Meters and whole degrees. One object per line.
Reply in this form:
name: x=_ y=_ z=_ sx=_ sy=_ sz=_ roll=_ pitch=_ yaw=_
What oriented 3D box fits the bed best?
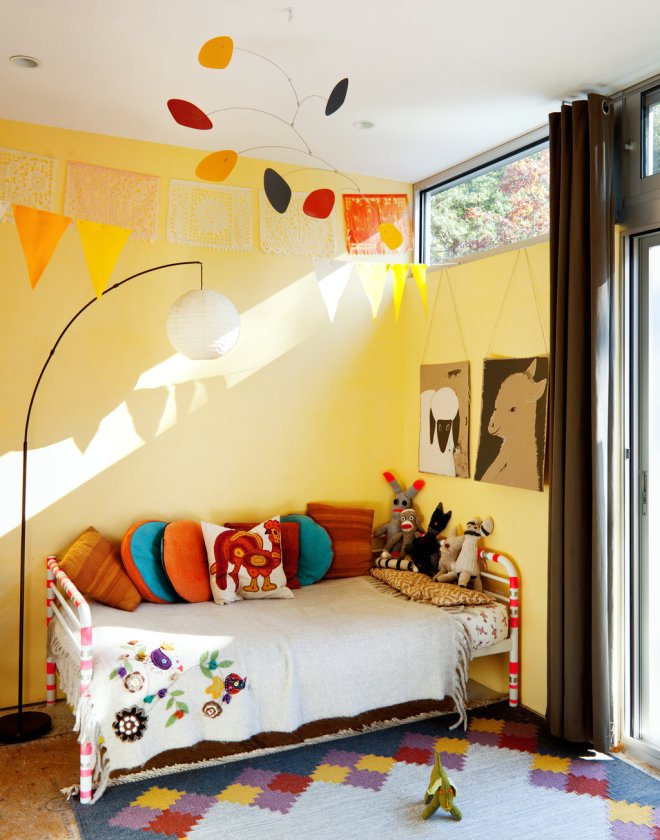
bed: x=-0.237 y=0.739 z=2.769 sx=1.397 sy=0.521 sz=0.832 roll=-5 pitch=8 yaw=-28
